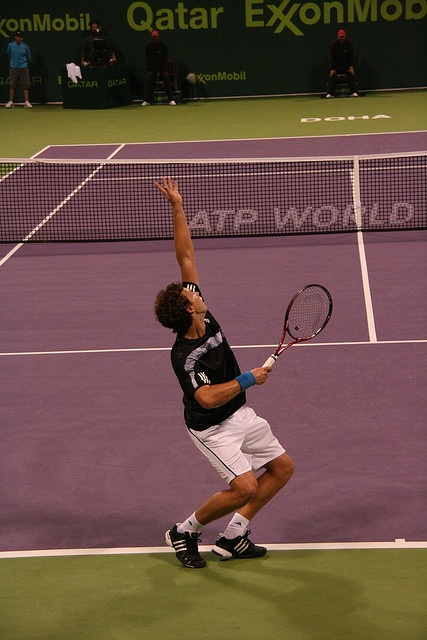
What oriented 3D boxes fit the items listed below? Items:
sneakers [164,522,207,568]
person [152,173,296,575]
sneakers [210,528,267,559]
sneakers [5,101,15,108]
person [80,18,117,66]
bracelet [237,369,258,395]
[{"bbox_3d":[-0.129,1.096,2.884,0.100,0.129,0.285,16,10,-42],"label":"sneakers"},{"bbox_3d":[0.038,0.439,3.042,0.658,1.525,0.818,-3,4,-6],"label":"person"},{"bbox_3d":[0.118,1.121,2.968,0.333,0.151,0.112,2,-6,-11],"label":"sneakers"},{"bbox_3d":[-7.747,-8.152,22.472,0.215,0.242,0.606,2,9,-2],"label":"sneakers"},{"bbox_3d":[-4.087,-9.607,20.873,1.119,1.474,1.114,-4,4,-18],"label":"person"},{"bbox_3d":[0.142,0.293,2.737,0.075,0.092,0.074,-14,41,-33],"label":"bracelet"}]
